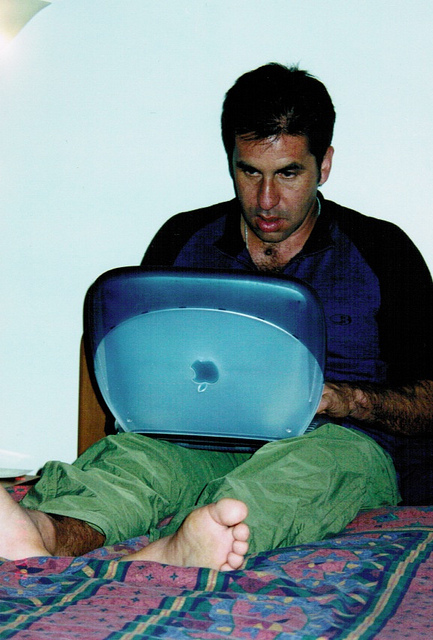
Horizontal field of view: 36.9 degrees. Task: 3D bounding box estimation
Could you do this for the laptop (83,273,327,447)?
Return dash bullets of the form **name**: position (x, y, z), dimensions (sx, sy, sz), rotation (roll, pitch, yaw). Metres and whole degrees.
- **laptop**: position (0.048, 0.098, 1.553), dimensions (0.608, 0.377, 0.327), rotation (1, 0, 32)
